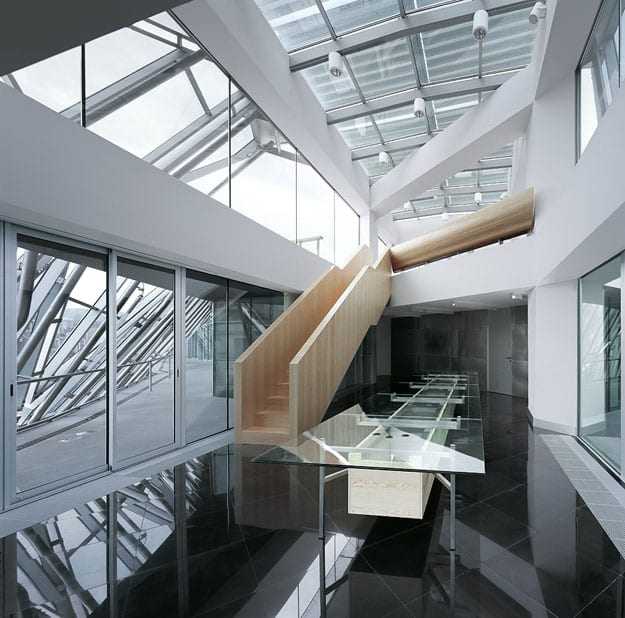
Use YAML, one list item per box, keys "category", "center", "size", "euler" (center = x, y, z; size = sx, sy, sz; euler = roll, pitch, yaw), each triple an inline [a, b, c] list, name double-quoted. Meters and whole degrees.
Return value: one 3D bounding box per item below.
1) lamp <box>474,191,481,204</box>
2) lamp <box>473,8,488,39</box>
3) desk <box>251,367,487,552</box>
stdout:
- category: "lamp"
  center: [5.037, -3.429, 15.666]
  size: [0.253, 0.477, 0.247]
  euler: [1, 15, 13]
- category: "lamp"
  center: [2.332, -4.007, 7.053]
  size: [0.195, 0.423, 0.287]
  euler: [0, 0, 14]
- category: "desk"
  center: [0.743, 1.290, 4.382]
  size: [1.380, 0.773, 2.644]
  euler: [0, 0, 19]
